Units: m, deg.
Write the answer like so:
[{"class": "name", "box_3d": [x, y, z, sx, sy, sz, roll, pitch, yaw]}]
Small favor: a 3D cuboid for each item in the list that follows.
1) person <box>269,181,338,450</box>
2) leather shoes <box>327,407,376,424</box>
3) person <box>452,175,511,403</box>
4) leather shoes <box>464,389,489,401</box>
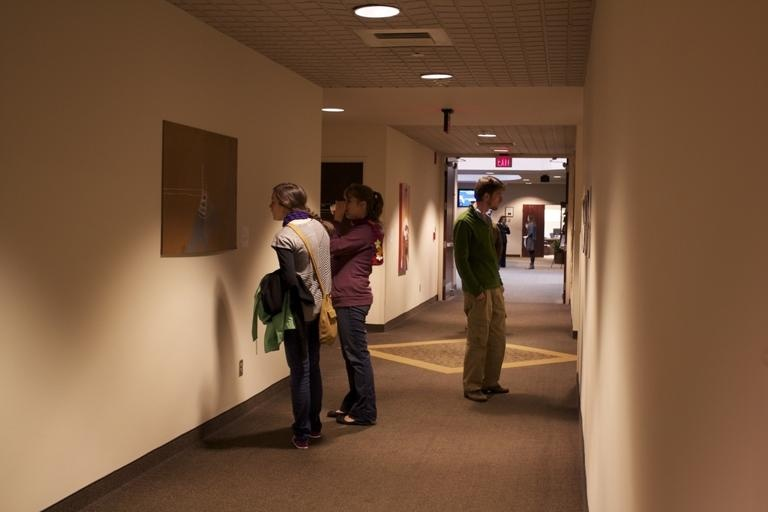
[{"class": "person", "box_3d": [-0.685, 0.507, 4.241, 0.511, 2.230, 0.447, 0, 3, -18]}, {"class": "leather shoes", "box_3d": [-0.321, 1.554, 4.904, 0.438, 0.124, 0.176, 4, -1, 13]}, {"class": "person", "box_3d": [1.033, 0.351, 5.566, 0.348, 2.445, 0.809, 3, 4, 44]}, {"class": "leather shoes", "box_3d": [1.007, 1.528, 5.631, 0.303, 0.143, 0.109, -5, -5, 39]}]
